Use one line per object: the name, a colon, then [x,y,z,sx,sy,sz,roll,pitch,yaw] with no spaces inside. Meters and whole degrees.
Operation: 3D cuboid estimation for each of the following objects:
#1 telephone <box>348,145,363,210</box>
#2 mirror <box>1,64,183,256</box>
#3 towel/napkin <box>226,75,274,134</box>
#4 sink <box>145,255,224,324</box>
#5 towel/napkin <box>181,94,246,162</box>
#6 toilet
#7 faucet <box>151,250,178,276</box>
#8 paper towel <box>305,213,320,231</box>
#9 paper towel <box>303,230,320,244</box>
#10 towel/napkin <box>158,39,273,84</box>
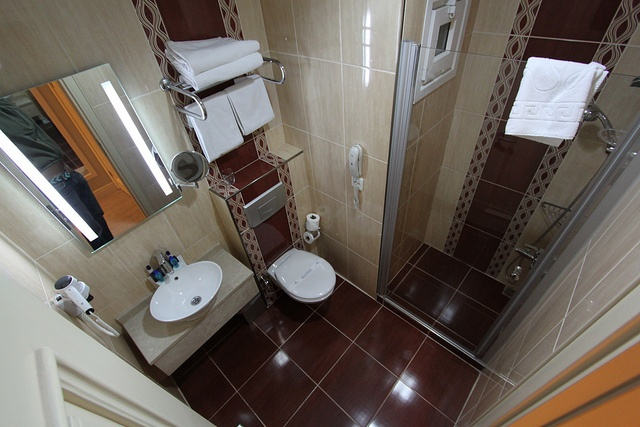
telephone: [0.261,-0.246,2.725,0.123,0.552,0.072,10,42,18]
mirror: [-1.345,-0.341,2.168,0.078,1.143,0.647,29,58,34]
towel/napkin: [-0.464,-0.726,2.525,0.079,0.353,0.339,14,46,41]
sink: [-0.928,0.564,2.654,0.388,0.185,0.527,24,49,30]
towel/napkin: [-0.685,-0.559,2.434,0.094,0.389,0.361,17,43,35]
toilet: [-0.139,0.594,3.261,0.572,0.289,0.458,29,48,31]
faucet: [-1.089,0.338,2.655,0.122,0.180,0.062,-36,29,-25]
paper towel: [-0.043,0.078,3.290,0.128,0.142,0.139,8,53,8]
paper towel: [-0.080,0.219,3.363,0.156,0.163,0.089,-2,49,-19]
towel/napkin: [-0.643,-0.989,2.271,0.508,0.145,0.294,-31,47,-26]
